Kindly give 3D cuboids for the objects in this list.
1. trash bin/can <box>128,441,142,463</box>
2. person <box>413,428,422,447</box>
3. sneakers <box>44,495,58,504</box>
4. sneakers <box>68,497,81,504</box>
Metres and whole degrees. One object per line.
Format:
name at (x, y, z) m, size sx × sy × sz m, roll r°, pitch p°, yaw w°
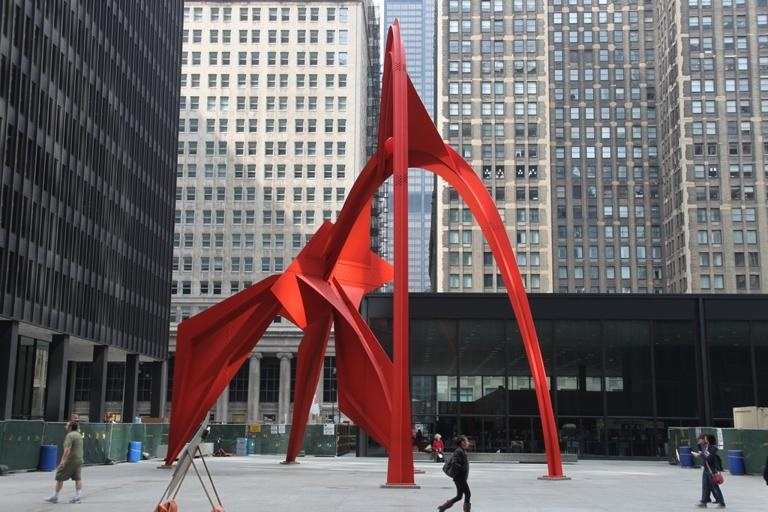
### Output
trash bin/can at (-16.918, 13.381, 62.770) m, size 0.661 × 1.398 × 1.509 m, roll -8°, pitch -15°, yaw 19°
person at (2.456, 13.219, 66.387) m, size 0.734 × 1.347 × 0.220 m, roll -4°, pitch -14°, yaw 1°
sneakers at (-16.331, 12.001, 45.150) m, size 0.500 × 0.233 × 0.274 m, roll 9°, pitch -17°, yaw -1°
sneakers at (-15.251, 12.070, 45.247) m, size 0.678 × 0.296 × 0.249 m, roll -2°, pitch -21°, yaw 21°
